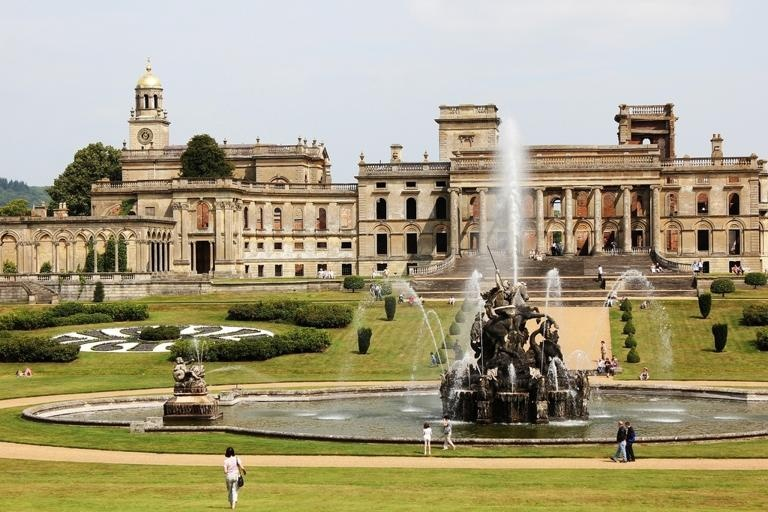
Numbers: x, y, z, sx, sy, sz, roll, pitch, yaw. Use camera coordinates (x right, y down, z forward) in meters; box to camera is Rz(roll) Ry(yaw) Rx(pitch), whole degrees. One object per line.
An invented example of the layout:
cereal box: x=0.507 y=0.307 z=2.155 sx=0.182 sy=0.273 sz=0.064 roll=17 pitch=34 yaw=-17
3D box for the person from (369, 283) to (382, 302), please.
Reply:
person: x=-0.699 y=2.694 z=114.040 sx=1.105 sy=1.263 sz=1.195 roll=1 pitch=4 yaw=25

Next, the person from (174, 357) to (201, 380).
person: x=-10.156 y=5.929 z=80.429 sx=1.527 sy=1.226 sz=1.039 roll=2 pitch=-7 yaw=-20

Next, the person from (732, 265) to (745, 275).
person: x=29.067 y=1.210 z=127.310 sx=0.710 sy=1.070 sz=2.093 roll=2 pitch=5 yaw=25
